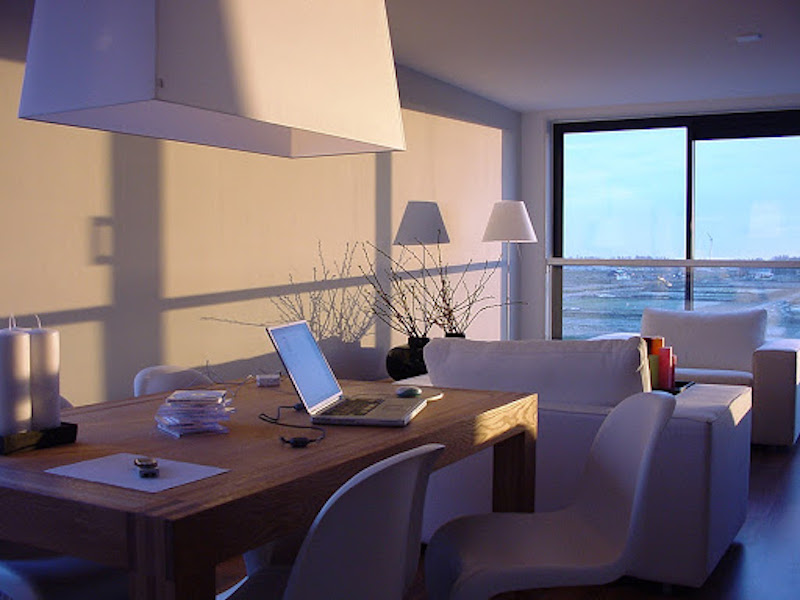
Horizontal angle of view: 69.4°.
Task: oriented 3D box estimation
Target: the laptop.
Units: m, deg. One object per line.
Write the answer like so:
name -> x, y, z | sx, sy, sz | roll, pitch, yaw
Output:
laptop -> -0.154, 0.172, 1.746 | 0.345, 0.263, 0.338 | -2, 2, 14

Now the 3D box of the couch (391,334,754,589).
couch -> 0.878, 0.655, 2.881 | 1.377, 1.011, 0.750 | -2, 1, 43

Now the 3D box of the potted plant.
potted plant -> 0.323, -0.005, 5.539 | 1.190, 1.265, 1.038 | 2, -2, -13
